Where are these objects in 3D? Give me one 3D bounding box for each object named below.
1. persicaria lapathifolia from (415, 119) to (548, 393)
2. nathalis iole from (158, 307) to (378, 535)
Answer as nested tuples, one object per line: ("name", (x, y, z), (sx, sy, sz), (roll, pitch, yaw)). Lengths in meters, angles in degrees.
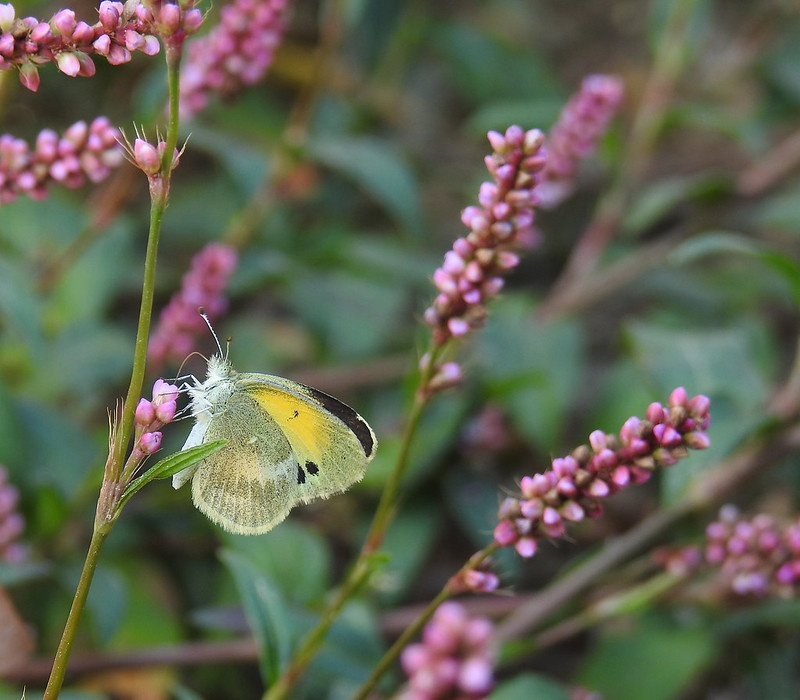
("persicaria lapathifolia", (0.143, -0.151, 1.503), (0.185, 0.412, 0.185), (-9, 15, -34))
("nathalis iole", (-0.225, 0.215, 1.929), (0.492, 0.461, 0.312), (11, 62, 44))
